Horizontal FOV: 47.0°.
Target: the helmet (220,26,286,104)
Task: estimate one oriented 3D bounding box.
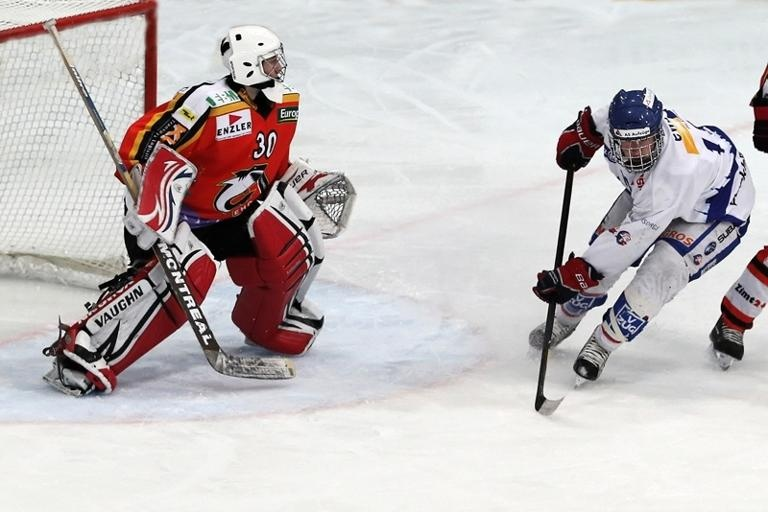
[{"bbox_3d":[-0.598,-0.919,4.192,0.425,0.368,0.303,0,27,1],"label":"helmet"}]

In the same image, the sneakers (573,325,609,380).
[{"bbox_3d":[1.037,0.460,4.352,0.121,0.127,0.343,30,32,6],"label":"sneakers"}]

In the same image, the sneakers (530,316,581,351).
[{"bbox_3d":[0.838,0.425,4.619,0.143,0.105,0.341,-13,-12,-40],"label":"sneakers"}]

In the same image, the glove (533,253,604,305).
[{"bbox_3d":[0.878,0.122,4.238,0.346,0.097,0.197,-26,64,4],"label":"glove"}]

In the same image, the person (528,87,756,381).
[{"bbox_3d":[1.284,-0.108,4.307,0.932,1.359,0.874,10,25,15],"label":"person"}]
